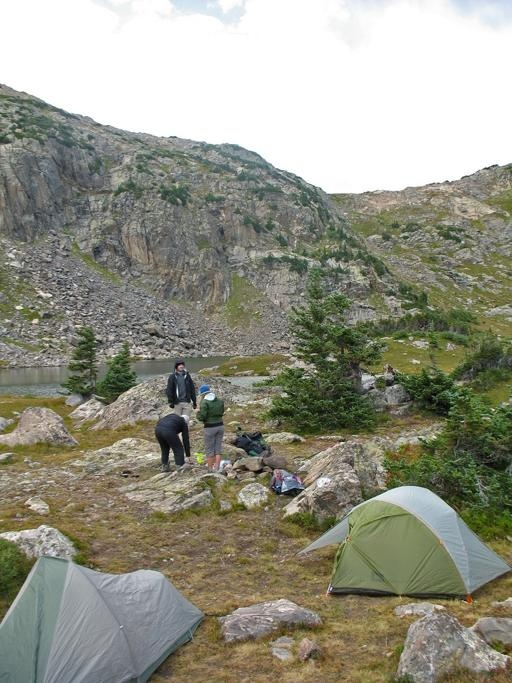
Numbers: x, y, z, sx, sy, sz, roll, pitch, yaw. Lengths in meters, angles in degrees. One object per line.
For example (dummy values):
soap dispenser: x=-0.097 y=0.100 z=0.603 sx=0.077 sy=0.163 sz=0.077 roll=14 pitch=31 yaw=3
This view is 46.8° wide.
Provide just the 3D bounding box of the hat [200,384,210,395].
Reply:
hat: x=-1.621 y=1.544 z=18.661 sx=0.269 sy=0.340 sz=0.384 roll=-1 pitch=5 yaw=-12

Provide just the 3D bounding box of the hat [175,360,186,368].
hat: x=-2.567 y=0.786 z=20.056 sx=0.284 sy=0.261 sz=0.356 roll=-4 pitch=10 yaw=-11
